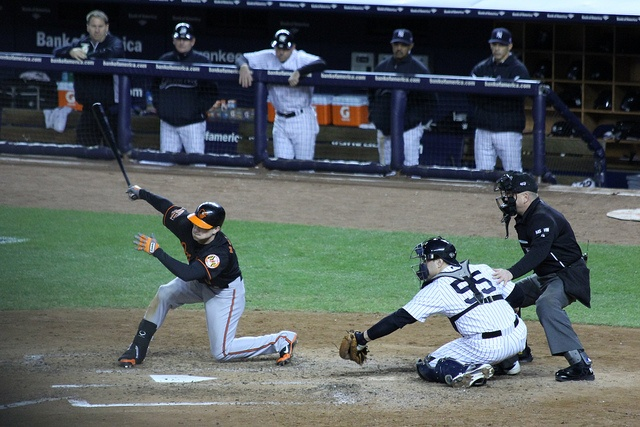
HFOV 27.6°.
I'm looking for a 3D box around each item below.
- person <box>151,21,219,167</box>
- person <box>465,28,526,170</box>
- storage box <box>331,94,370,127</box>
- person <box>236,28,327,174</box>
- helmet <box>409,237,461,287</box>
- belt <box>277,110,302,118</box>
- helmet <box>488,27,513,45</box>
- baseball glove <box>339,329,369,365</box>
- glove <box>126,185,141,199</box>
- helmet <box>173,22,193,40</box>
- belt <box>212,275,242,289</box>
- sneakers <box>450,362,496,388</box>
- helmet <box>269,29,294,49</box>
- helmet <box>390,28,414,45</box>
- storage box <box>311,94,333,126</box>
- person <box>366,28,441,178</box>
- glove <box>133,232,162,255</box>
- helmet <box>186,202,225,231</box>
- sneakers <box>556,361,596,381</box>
[{"bbox_3d":[-2.339,-1.657,21.621,1.213,2.958,0.918,7,27,7],"label":"person"},{"bbox_3d":[2.863,-1.806,20.886,0.760,2.244,0.843,-3,6,-27],"label":"person"},{"bbox_3d":[0.574,-1.905,24.017,0.748,0.489,0.716,-2,10,-7],"label":"storage box"},{"bbox_3d":[-0.578,-1.834,21.316,1.334,2.265,0.678,-1,5,-2],"label":"person"},{"bbox_3d":[1.413,0.540,15.960,0.640,0.553,0.485,-5,1,2],"label":"helmet"},{"bbox_3d":[-0.494,-1.610,21.206,0.413,0.112,0.100,0,5,2],"label":"belt"},{"bbox_3d":[2.883,-2.776,20.494,0.271,0.186,0.360,18,22,39],"label":"helmet"},{"bbox_3d":[0.427,1.626,15.949,0.221,0.432,0.276,-12,-15,38],"label":"baseball glove"},{"bbox_3d":[-2.391,-0.276,16.760,0.148,0.178,0.192,15,7,8],"label":"glove"},{"bbox_3d":[-2.213,-2.955,21.168,0.286,0.253,0.335,-1,5,-8],"label":"helmet"},{"bbox_3d":[-1.169,0.819,16.201,0.242,0.084,0.180,-23,8,-25],"label":"belt"},{"bbox_3d":[1.856,1.937,15.822,0.606,0.224,0.261,-13,15,-13],"label":"sneakers"},{"bbox_3d":[-0.613,-2.831,21.101,0.314,0.326,0.342,5,34,3],"label":"helmet"},{"bbox_3d":[1.356,-2.844,21.067,0.287,0.190,0.387,8,8,19],"label":"helmet"},{"bbox_3d":[0.061,-1.919,23.877,0.516,0.463,0.494,-1,-1,3],"label":"storage box"},{"bbox_3d":[1.187,-1.482,21.342,1.367,2.946,0.932,4,1,18],"label":"person"},{"bbox_3d":[-2.091,0.351,15.734,0.283,0.236,0.276,-1,5,-7],"label":"glove"},{"bbox_3d":[-1.406,-0.021,15.975,0.367,0.255,0.502,32,24,21],"label":"helmet"},{"bbox_3d":[3.128,1.917,16.018,0.432,0.235,0.218,1,3,7],"label":"sneakers"}]
